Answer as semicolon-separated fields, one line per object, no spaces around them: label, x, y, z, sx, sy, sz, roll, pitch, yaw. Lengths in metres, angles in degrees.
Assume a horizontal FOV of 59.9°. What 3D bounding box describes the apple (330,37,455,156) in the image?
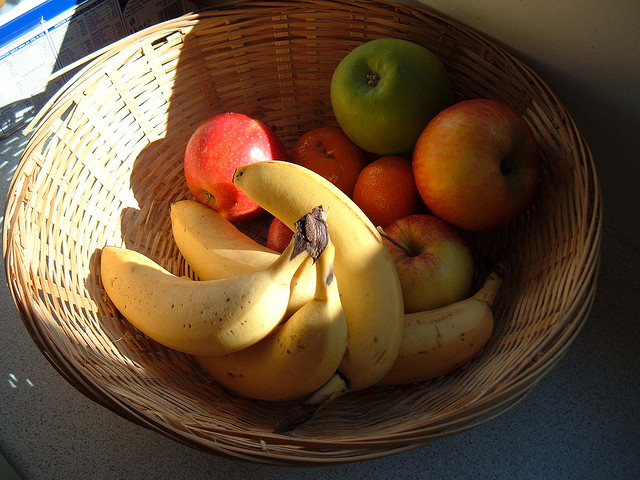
apple;0.140;-0.253;1.138;0.203;0.243;0.225;-31;71;13

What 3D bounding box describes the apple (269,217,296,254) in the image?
apple;-0.095;-0.011;1.099;0.088;0.066;0.058;6;90;59

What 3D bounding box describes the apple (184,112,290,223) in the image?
apple;-0.178;-0.190;1.195;0.223;0.192;0.232;-28;44;-33

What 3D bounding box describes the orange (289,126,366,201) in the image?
orange;0.023;-0.171;1.187;0.138;0.143;0.148;-35;78;-1

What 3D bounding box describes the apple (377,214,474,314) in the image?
apple;0.200;0.041;1.054;0.154;0.156;0.172;13;70;45

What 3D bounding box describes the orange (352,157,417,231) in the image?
orange;0.128;-0.090;1.107;0.119;0.115;0.140;5;82;38
